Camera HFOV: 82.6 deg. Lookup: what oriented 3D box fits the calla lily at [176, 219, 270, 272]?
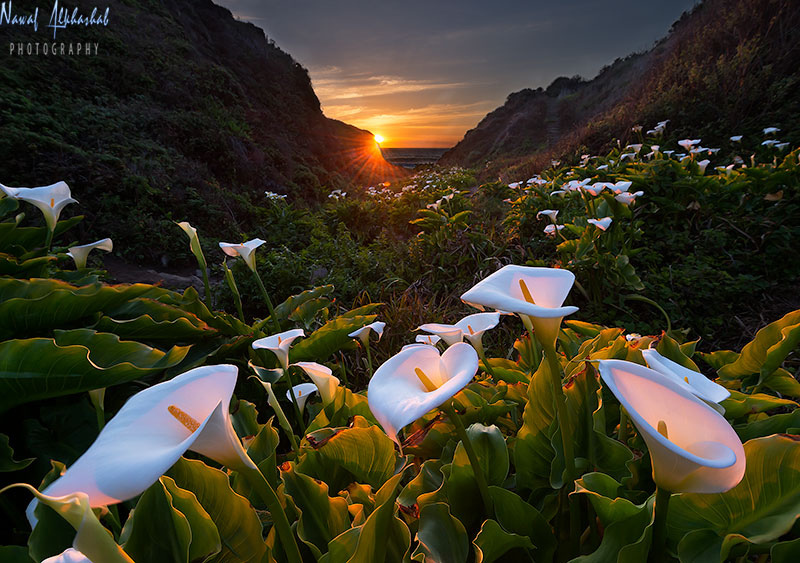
[{"bbox_3d":[-1.218,-0.222,3.290,0.626,0.445,0.401,-9,7,-12],"label":"calla lily"}]
